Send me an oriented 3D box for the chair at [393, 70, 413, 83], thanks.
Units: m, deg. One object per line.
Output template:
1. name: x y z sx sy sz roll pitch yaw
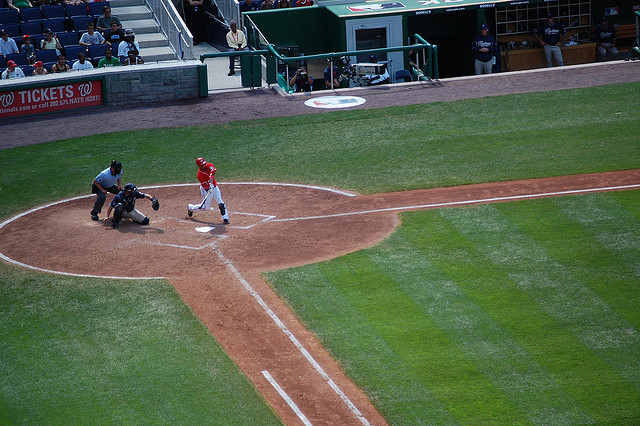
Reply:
1. chair: 3.227 -5.270 40.940 0.638 0.727 0.610 -1 3 -8

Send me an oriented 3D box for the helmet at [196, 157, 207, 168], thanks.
1. helmet: -3.327 -1.377 29.429 0.206 0.252 0.292 -9 21 -12

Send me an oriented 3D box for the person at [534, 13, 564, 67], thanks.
1. person: 9.301 -6.820 42.450 0.976 2.147 1.469 0 22 11

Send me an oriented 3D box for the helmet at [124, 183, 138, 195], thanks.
1. helmet: -5.251 -0.654 29.289 0.359 0.218 0.255 -1 35 0

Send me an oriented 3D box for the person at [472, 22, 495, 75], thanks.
1. person: 6.365 -6.260 41.005 0.822 1.889 0.971 -1 23 10

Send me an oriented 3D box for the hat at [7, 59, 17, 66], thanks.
1. hat: -10.803 -5.172 36.753 0.400 0.151 0.242 -1 19 -1

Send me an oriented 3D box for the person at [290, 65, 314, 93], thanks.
1. person: -0.720 -4.963 39.593 0.816 0.968 0.584 -2 23 7

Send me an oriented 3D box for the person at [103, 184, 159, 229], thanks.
1. person: -5.260 -0.226 29.585 1.490 1.020 0.993 2 13 -12

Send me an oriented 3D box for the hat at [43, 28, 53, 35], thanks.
1. hat: -9.958 -6.588 38.615 0.451 0.177 0.275 1 15 4

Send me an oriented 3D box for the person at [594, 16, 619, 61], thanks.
1. person: 11.994 -7.131 44.010 0.878 1.578 0.817 3 24 18

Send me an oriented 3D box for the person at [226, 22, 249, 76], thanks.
1. person: -3.324 -6.443 41.575 0.854 2.167 1.325 -6 22 -1

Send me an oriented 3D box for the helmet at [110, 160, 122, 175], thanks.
1. helmet: -5.824 -1.260 30.022 0.307 0.426 0.451 -8 21 -9

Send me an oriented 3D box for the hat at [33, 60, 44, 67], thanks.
1. hat: -9.949 -5.160 37.061 0.399 0.166 0.244 5 32 2

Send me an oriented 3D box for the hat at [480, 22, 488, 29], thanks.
1. hat: 6.425 -7.232 41.209 0.448 0.282 0.664 0 7 4
